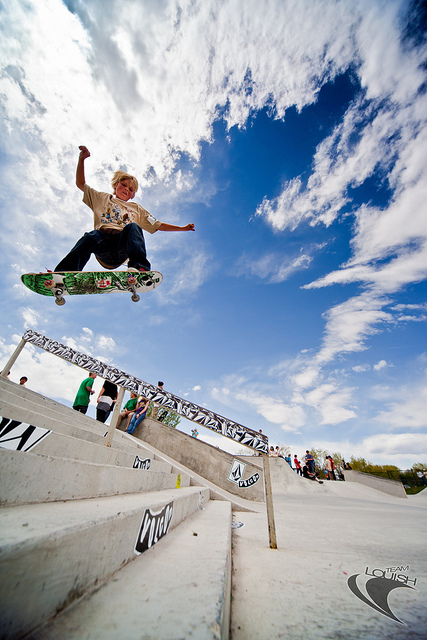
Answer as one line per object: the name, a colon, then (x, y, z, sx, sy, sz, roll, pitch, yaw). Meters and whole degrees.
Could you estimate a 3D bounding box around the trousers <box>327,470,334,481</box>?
trousers: (4.734, 6.610, 15.418, 0.243, 0.329, 0.826, -1, -32, 18)

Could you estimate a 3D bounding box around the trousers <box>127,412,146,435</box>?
trousers: (-1.789, 2.490, 8.602, 0.330, 0.492, 0.402, 12, -27, -9)

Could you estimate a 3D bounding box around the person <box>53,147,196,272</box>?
person: (-0.991, -1.035, 4.234, 1.434, 1.539, 0.730, 6, -21, -12)

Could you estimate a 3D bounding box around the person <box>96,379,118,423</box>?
person: (-1.800, 1.456, 6.242, 0.271, 0.714, 0.600, 14, -27, -14)

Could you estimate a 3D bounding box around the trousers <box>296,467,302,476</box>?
trousers: (3.992, 7.365, 17.720, 0.163, 0.333, 0.703, 4, -30, 7)

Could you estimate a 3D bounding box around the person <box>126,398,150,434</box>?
person: (-1.710, 2.339, 8.731, 0.339, 0.915, 0.629, 22, -29, -30)

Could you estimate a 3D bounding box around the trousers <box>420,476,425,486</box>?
trousers: (12.611, 10.171, 22.891, 0.187, 0.511, 0.383, 0, -27, 16)
